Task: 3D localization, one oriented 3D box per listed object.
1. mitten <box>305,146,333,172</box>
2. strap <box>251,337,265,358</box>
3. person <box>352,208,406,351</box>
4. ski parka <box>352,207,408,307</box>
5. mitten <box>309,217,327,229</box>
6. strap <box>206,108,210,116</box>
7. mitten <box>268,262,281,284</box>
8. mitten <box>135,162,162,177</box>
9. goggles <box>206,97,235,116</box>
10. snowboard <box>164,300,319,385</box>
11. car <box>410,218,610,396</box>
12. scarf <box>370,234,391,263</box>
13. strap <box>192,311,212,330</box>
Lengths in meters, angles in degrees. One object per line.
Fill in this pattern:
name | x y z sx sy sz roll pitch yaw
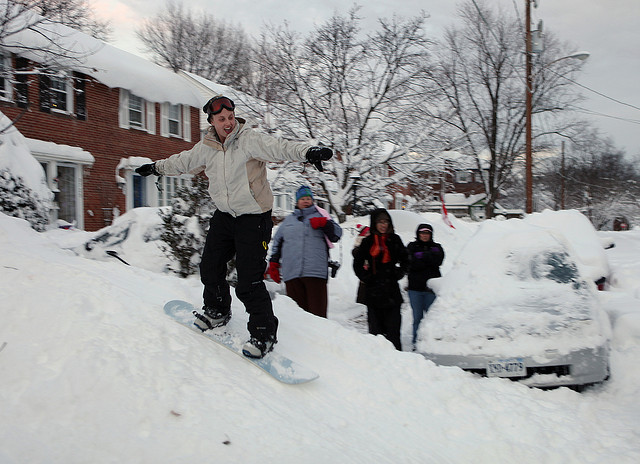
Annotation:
mitten | -0.032 -0.732 5.700 0.193 0.283 0.293 -12 14 -41
strap | -0.663 1.194 6.083 0.079 0.223 0.099 -31 -3 12
person | 0.754 0.576 7.453 0.681 1.736 0.448 1 5 16
ski parka | 0.766 0.321 7.458 0.705 1.228 0.371 0 5 4
mitten | -0.019 -0.121 7.942 0.221 0.161 0.118 0 5 6
strap | -1.189 -1.269 6.140 0.042 0.066 0.039 3 4 -8
mitten | -0.654 0.559 8.221 0.091 0.254 0.198 5 -19 -21
mitten | -2.068 -0.742 6.871 0.241 0.076 0.165 11 -1 43
goggles | -1.046 -1.328 6.076 0.208 0.089 0.233 -18 -4 -24
snowboard | -0.894 1.200 6.185 1.760 0.119 0.389 21 17 31
car | 2.319 0.927 6.893 2.037 1.748 1.168 0 5 9
scarf | 0.761 0.223 7.477 0.244 0.295 0.090 -3 -1 -6
strap | -1.273 0.960 6.406 0.278 0.089 0.104 38 -23 -5
